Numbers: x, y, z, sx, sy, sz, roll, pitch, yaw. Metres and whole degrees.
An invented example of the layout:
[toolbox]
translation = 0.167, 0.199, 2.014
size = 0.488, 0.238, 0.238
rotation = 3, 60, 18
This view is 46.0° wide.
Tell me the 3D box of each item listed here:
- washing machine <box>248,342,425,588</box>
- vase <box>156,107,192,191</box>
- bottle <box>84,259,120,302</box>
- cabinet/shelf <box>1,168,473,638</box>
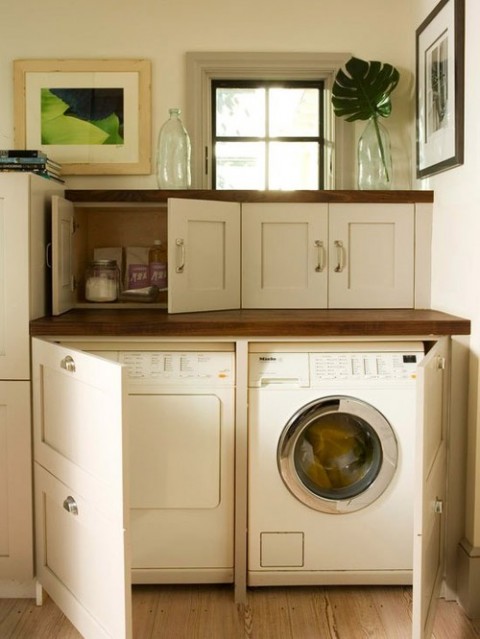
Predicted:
[washing machine]
translation = 0.309, 0.284, 1.923
size = 0.514, 1.083, 0.583
rotation = -4, 36, 5
[vase]
translation = -0.263, -0.647, 2.221
size = 0.139, 0.343, 0.150
rotation = 0, -5, -36
[bottle]
translation = -0.535, -0.143, 2.199
size = 0.096, 0.200, 0.148
rotation = 0, -3, 4
[cabinet/shelf]
translation = -0.029, 0.334, 1.725
size = 1.118, 1.660, 1.026
rotation = 0, 2, 0
